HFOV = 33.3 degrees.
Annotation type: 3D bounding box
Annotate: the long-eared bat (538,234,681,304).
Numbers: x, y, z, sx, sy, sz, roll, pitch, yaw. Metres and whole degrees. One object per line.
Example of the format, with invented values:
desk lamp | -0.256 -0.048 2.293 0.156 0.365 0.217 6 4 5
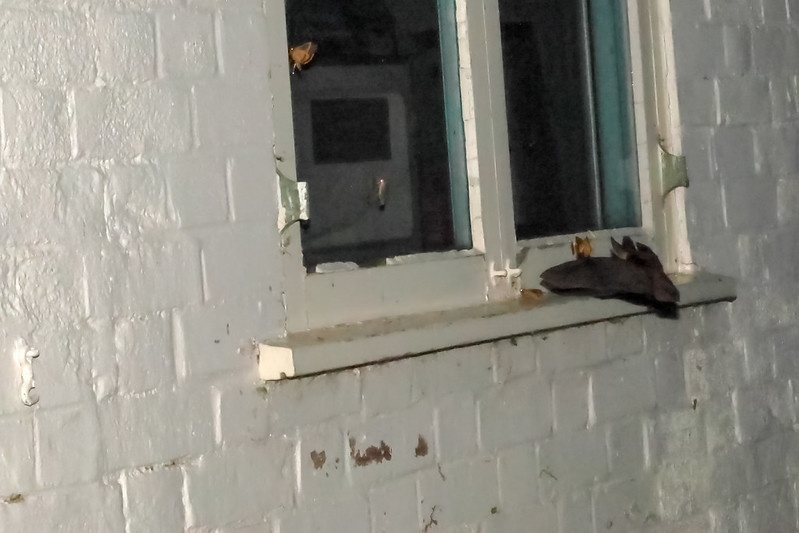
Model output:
long-eared bat | 0.533 0.017 3.378 0.211 0.105 0.189 3 13 -1
